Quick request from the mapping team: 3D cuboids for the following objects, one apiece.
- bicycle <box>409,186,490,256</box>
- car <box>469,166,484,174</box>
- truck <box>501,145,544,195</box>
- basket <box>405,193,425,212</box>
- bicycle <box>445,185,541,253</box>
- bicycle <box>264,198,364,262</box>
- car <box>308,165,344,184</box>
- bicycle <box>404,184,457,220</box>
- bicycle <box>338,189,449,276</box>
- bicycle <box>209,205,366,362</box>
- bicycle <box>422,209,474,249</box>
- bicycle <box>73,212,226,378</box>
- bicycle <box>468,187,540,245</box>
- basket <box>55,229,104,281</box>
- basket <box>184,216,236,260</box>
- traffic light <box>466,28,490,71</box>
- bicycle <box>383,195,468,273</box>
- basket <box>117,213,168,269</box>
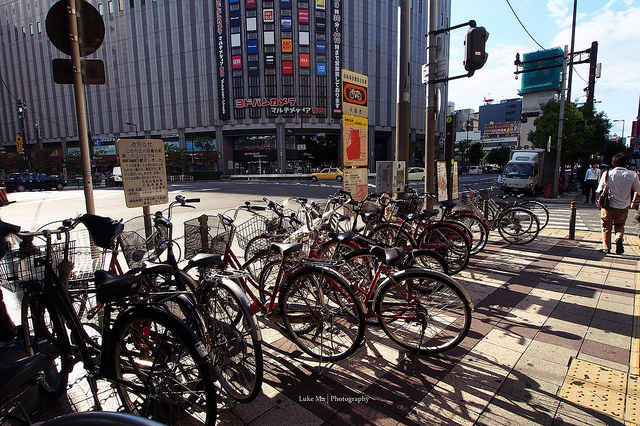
[{"bbox_3d":[2.460,0.436,9.806,1.258,1.484,2.412,18,-19,-38],"label":"bicycle"},{"bbox_3d":[20.559,-5.625,56.642,1.201,1.045,2.150,-4,-1,33],"label":"car"},{"bbox_3d":[10.288,-2.183,22.677,1.343,2.349,4.223,4,8,38],"label":"truck"},{"bbox_3d":[2.195,-0.239,9.873,0.354,0.188,0.486,13,-2,25],"label":"basket"},{"bbox_3d":[4.121,0.134,10.246,0.866,1.313,2.054,0,-5,-38],"label":"bicycle"},{"bbox_3d":[-0.196,0.337,7.114,1.428,0.875,0.917,24,17,16],"label":"bicycle"},{"bbox_3d":[0.639,-2.945,32.867,2.260,0.941,1.459,0,9,16],"label":"car"},{"bbox_3d":[2.188,-0.230,8.997,1.225,0.761,0.630,2,15,13],"label":"bicycle"},{"bbox_3d":[1.320,0.353,6.933,1.460,0.915,0.929,26,12,22],"label":"bicycle"},{"bbox_3d":[-0.543,1.140,6.247,2.483,1.566,1.179,20,20,30],"label":"bicycle"},{"bbox_3d":[2.354,0.244,8.140,1.054,0.671,0.663,0,11,17],"label":"bicycle"},{"bbox_3d":[-2.564,0.830,5.691,2.216,1.374,0.965,-6,0,35],"label":"bicycle"},{"bbox_3d":[4.166,0.100,10.389,1.061,1.401,2.221,4,-6,-35],"label":"bicycle"},{"bbox_3d":[-3.405,0.601,6.020,0.517,0.675,0.984,-7,-11,-24],"label":"basket"},{"bbox_3d":[-1.807,0.446,6.923,0.808,0.603,0.649,11,10,-9],"label":"basket"},{"bbox_3d":[3.268,-3.437,8.948,0.421,0.852,0.345,1,10,20],"label":"traffic light"},{"bbox_3d":[1.741,0.412,7.743,2.081,1.280,0.877,3,-11,-24],"label":"bicycle"},{"bbox_3d":[-2.724,0.404,6.629,0.820,0.880,0.831,-3,-8,-40],"label":"basket"}]
